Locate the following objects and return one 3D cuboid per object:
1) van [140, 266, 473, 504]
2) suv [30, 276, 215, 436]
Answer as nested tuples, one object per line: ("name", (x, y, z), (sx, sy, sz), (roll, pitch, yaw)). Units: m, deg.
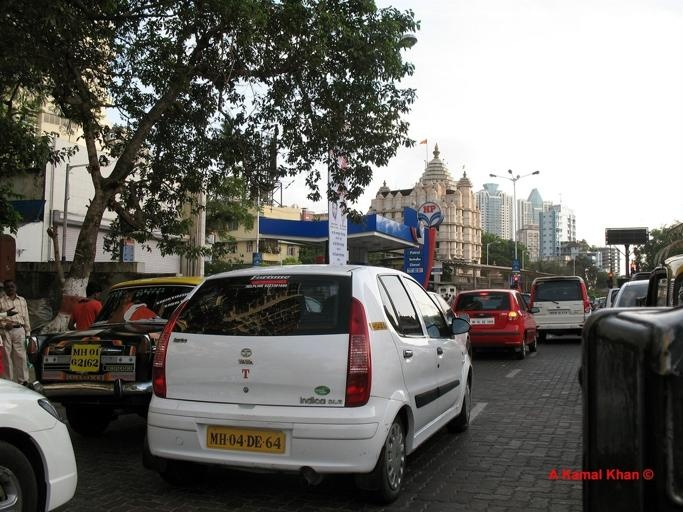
("van", (0.095, 0.894, 5.859), (1.522, 1.267, 2.696), (-2, -1, 25))
("suv", (-2.361, 1.068, 7.367), (1.227, 1.117, 2.290), (-1, -1, 19))
